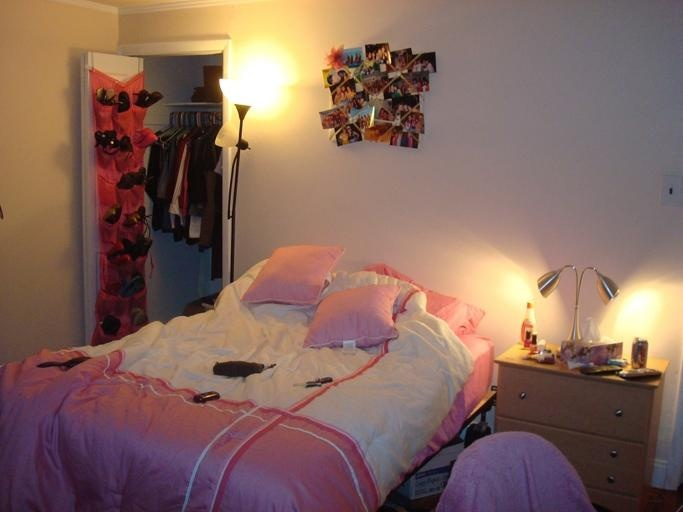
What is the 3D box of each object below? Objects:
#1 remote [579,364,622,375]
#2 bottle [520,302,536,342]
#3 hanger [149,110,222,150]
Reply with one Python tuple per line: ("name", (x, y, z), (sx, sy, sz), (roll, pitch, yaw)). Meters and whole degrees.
("remote", (1.374, 0.608, 2.962), (0.142, 0.022, 0.091), (0, 10, 15))
("bottle", (1.132, 0.392, 3.367), (0.077, 0.263, 0.223), (7, 15, 19))
("hanger", (-1.287, -1.017, 4.758), (0.506, 0.171, 0.392), (9, 12, 43))
